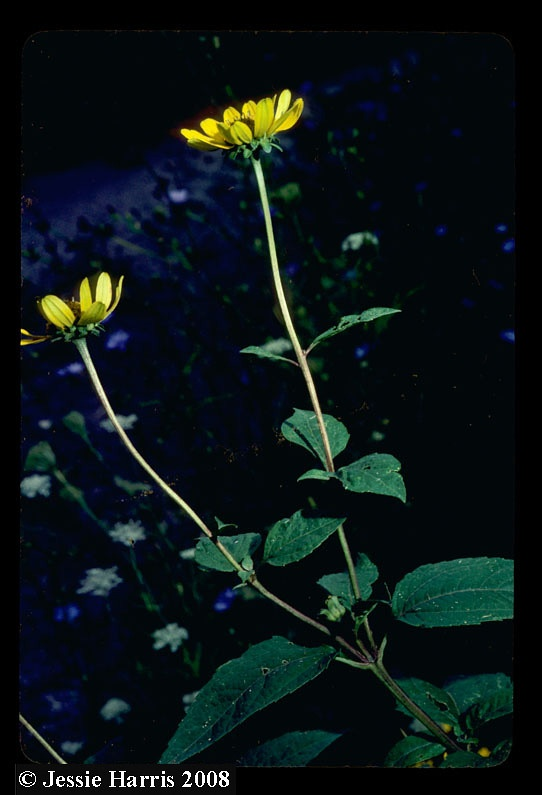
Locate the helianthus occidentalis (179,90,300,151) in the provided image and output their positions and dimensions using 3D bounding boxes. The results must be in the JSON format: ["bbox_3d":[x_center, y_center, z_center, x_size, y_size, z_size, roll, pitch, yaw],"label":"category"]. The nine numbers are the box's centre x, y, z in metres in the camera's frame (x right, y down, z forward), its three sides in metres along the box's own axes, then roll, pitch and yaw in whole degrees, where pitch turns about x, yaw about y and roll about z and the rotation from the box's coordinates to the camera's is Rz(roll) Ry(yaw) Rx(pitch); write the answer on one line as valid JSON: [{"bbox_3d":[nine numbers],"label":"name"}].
[{"bbox_3d":[-0.023,-0.313,0.860,0.123,0.048,0.131,-22,14,-6],"label":"helianthus occidentalis"}]
